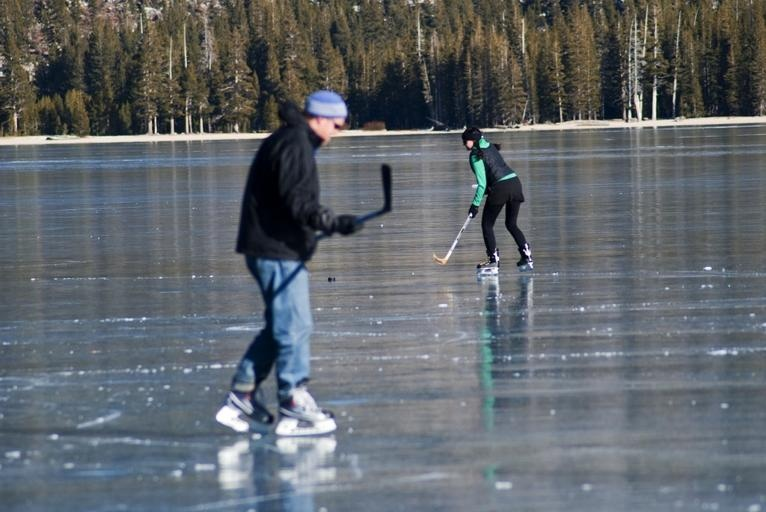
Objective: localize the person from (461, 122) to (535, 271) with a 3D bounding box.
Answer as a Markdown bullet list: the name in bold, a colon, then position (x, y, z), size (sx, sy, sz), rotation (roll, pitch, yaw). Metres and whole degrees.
- **person**: position (1.675, -0.858, 21.343), size (1.253, 1.934, 0.856), rotation (0, 1, 6)

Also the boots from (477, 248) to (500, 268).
- **boots**: position (1.520, 0.039, 21.134), size (0.304, 0.293, 0.239), rotation (-3, 5, -4)
